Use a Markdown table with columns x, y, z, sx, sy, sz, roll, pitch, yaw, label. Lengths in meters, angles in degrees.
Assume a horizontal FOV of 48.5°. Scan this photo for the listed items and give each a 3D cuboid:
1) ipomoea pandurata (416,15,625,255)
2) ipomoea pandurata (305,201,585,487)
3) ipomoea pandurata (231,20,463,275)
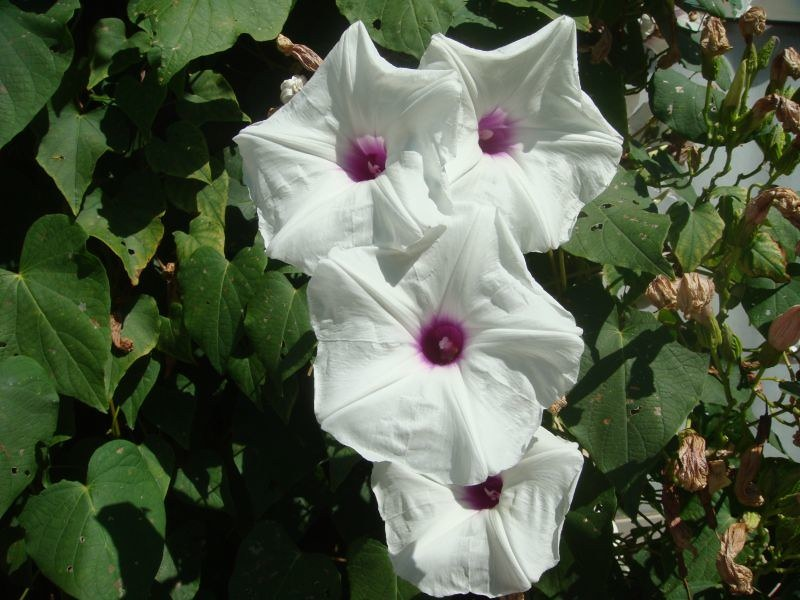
| x | y | z | sx | sy | sz | roll | pitch | yaw | label |
| --- | --- | --- | --- | --- | --- | --- | --- | --- | --- |
| 0.394 | -0.636 | 3.082 | 0.653 | 0.341 | 0.845 | 13 | -7 | 4 | ipomoea pandurata |
| 0.079 | 0.175 | 2.812 | 0.805 | 0.365 | 0.922 | 32 | 48 | 11 | ipomoea pandurata |
| -0.160 | -0.557 | 2.992 | 0.708 | 0.332 | 0.865 | -32 | -8 | -10 | ipomoea pandurata |
